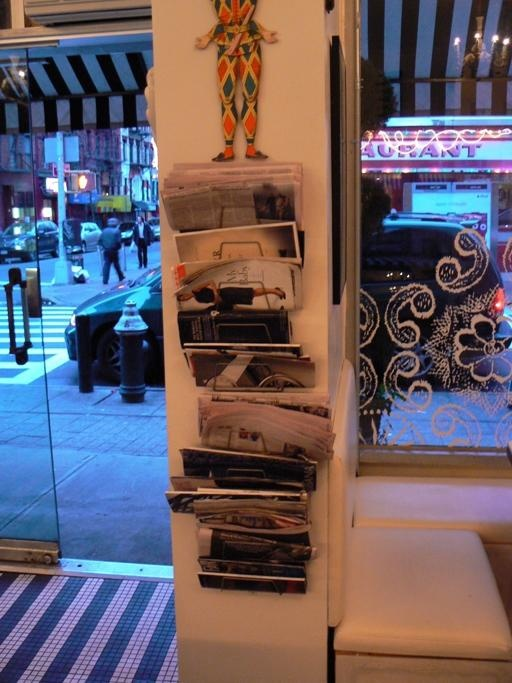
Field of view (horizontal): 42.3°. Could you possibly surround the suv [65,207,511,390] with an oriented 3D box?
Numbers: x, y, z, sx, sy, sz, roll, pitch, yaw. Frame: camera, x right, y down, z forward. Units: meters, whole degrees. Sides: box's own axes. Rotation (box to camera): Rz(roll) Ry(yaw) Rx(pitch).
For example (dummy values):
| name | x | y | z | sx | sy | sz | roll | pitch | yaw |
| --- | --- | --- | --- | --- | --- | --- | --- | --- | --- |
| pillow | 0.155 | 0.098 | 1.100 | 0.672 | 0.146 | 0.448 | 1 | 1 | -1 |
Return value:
| name | x | y | z | sx | sy | sz | roll | pitch | yaw |
| --- | --- | --- | --- | --- | --- | --- | --- | --- | --- |
| suv | -0.023 | -0.177 | 3.486 | 2.254 | 0.975 | 1.205 | 3 | 7 | 5 |
